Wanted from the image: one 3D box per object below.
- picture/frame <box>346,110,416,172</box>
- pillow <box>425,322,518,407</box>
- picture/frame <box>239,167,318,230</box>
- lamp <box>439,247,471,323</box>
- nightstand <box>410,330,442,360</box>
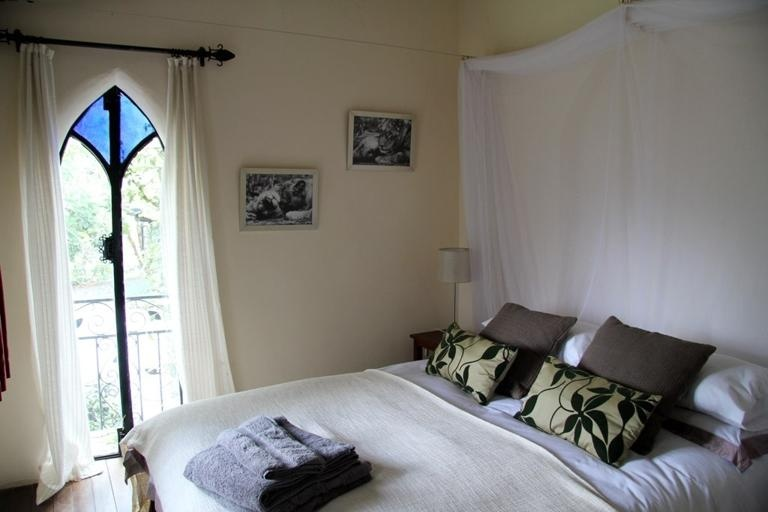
[{"bbox_3d":[0.006,-0.997,4.551,0.650,0.507,0.006,-10,12,-40],"label":"picture/frame"},{"bbox_3d":[0.577,0.705,3.475,0.163,0.402,0.556,34,-7,-25],"label":"pillow"},{"bbox_3d":[-0.869,-0.469,4.217,0.491,0.397,0.021,-3,8,-25],"label":"picture/frame"},{"bbox_3d":[0.617,0.402,4.503,0.246,0.920,0.249,-1,5,-4],"label":"lamp"},{"bbox_3d":[0.395,0.788,4.562,0.250,0.249,0.250,-4,6,-34],"label":"nightstand"}]
